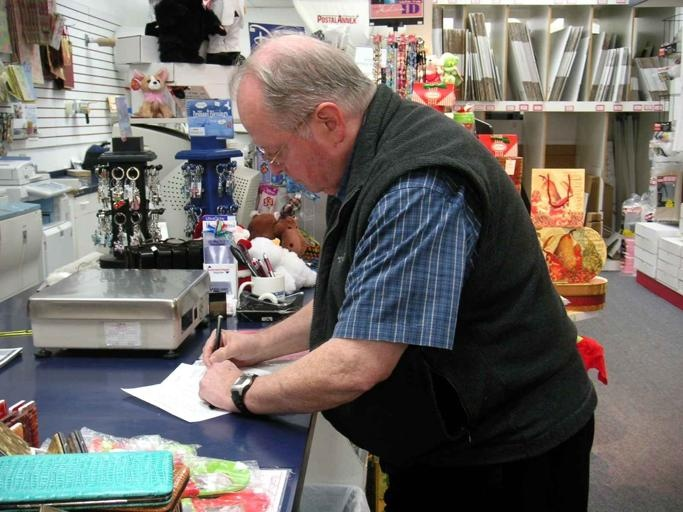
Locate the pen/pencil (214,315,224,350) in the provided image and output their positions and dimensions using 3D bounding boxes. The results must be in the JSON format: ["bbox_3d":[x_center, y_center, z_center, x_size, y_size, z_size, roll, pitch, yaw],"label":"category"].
[{"bbox_3d":[-0.404,0.255,1.735,0.021,0.119,0.020,13,37,-4],"label":"pen/pencil"}]

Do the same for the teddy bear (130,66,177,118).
[{"bbox_3d":[-1.083,-0.915,3.010,0.222,0.270,0.186,-7,14,-22],"label":"teddy bear"}]

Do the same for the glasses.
[{"bbox_3d":[-0.139,-0.299,1.300,0.083,0.149,0.114,-44,28,-18],"label":"glasses"}]

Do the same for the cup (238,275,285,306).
[{"bbox_3d":[-0.341,0.135,2.235,0.176,0.114,0.111,-4,9,-18],"label":"cup"}]
